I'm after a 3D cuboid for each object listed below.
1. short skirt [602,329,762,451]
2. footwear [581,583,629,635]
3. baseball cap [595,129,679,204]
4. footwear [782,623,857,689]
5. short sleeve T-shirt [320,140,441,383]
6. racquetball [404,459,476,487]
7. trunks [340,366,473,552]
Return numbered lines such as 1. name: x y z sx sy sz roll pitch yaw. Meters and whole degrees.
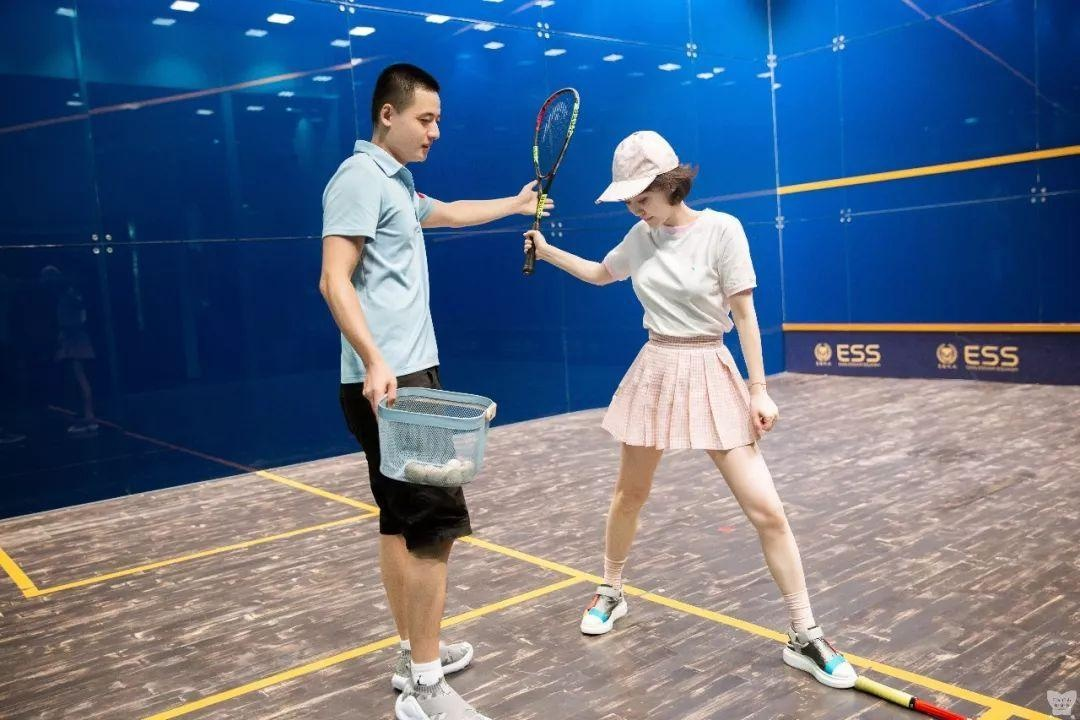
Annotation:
1. short skirt: 0.677 0.110 3.462 0.812 0.530 0.541 0 17 -3
2. footwear: 0.346 1.306 3.725 0.140 0.162 0.333 -2 -3 26
3. baseball cap: 0.452 -0.930 3.326 0.491 0.233 0.330 -34 30 -29
4. footwear: 1.305 1.345 3.245 0.184 0.207 0.358 1 6 -35
5. short sleeve T-shirt: -0.691 -0.433 3.014 0.422 0.986 0.330 -4 10 -12
6. racquetball: -0.388 0.447 2.757 0.279 0.149 0.120 -3 10 -4
7. trunks: -0.576 0.424 2.985 0.393 0.732 0.471 -7 11 -26
